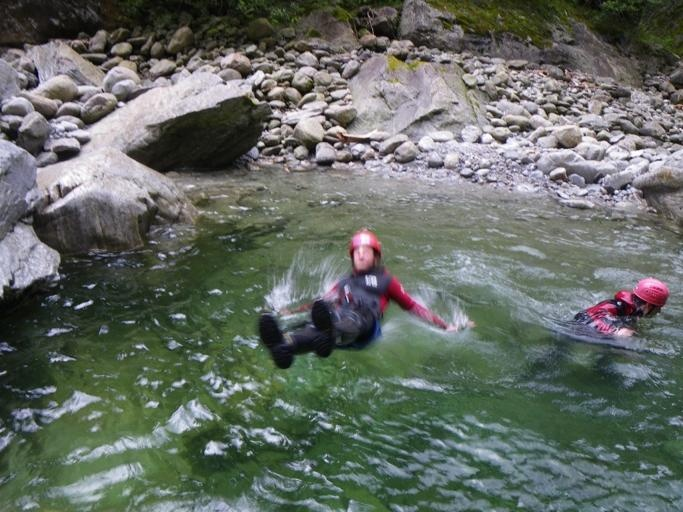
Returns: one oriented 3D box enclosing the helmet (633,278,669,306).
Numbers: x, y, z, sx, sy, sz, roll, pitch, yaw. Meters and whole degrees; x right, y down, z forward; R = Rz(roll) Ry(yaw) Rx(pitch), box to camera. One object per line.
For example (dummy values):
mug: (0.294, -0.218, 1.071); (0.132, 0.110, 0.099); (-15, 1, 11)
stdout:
helmet: (4.288, 0.495, 7.548); (0.403, 0.367, 0.337); (19, 7, -2)

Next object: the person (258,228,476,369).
person: (-0.038, 0.691, 6.738); (1.884, 1.040, 1.591); (0, 4, 26)

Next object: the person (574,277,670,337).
person: (3.864, 0.736, 7.420); (0.991, 0.460, 0.776); (-16, 17, 2)

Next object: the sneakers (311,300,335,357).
sneakers: (-0.205, 0.828, 6.358); (0.230, 0.709, 0.284); (1, 1, 5)
